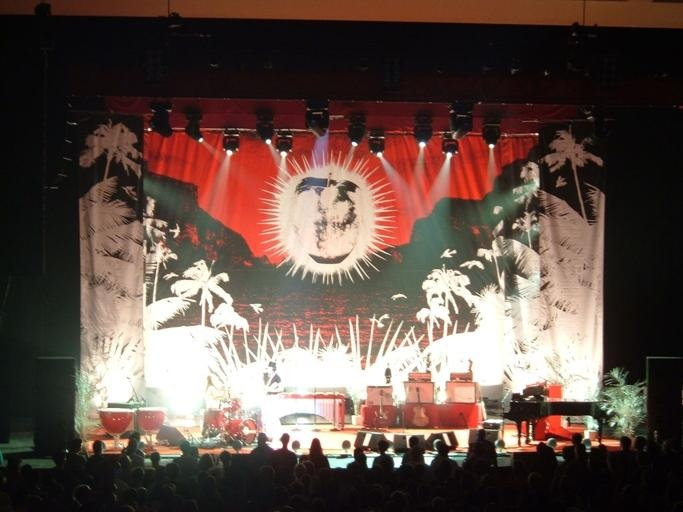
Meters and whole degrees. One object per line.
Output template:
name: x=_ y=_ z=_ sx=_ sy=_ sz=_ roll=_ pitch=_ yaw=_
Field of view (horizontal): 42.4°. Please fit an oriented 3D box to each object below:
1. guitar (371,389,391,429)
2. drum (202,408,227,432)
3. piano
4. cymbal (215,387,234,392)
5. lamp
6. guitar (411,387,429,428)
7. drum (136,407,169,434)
guitar: x=0.681 y=2.679 z=15.589 sx=0.457 sy=0.727 sz=0.143 roll=1 pitch=-14 yaw=0
drum: x=-2.065 y=2.661 z=14.158 sx=0.373 sy=0.347 sz=0.341 roll=2 pitch=-10 yaw=-9
piano: x=3.425 y=2.529 z=14.346 sx=1.684 sy=1.132 sz=1.196 roll=1 pitch=-7 yaw=-3
cymbal: x=-1.894 y=2.187 z=14.316 sx=0.192 sy=0.099 sz=0.179 roll=-2 pitch=0 yaw=16
lamp: x=-0.445 y=-2.281 z=15.491 sx=4.831 sy=0.452 sz=0.632 roll=1 pitch=24 yaw=4
guitar: x=1.425 y=2.690 z=15.644 sx=0.324 sy=0.722 sz=0.200 roll=4 pitch=-14 yaw=-10
drum: x=-3.019 y=2.648 z=14.097 sx=0.476 sy=0.442 sz=0.421 roll=-4 pitch=-22 yaw=11
